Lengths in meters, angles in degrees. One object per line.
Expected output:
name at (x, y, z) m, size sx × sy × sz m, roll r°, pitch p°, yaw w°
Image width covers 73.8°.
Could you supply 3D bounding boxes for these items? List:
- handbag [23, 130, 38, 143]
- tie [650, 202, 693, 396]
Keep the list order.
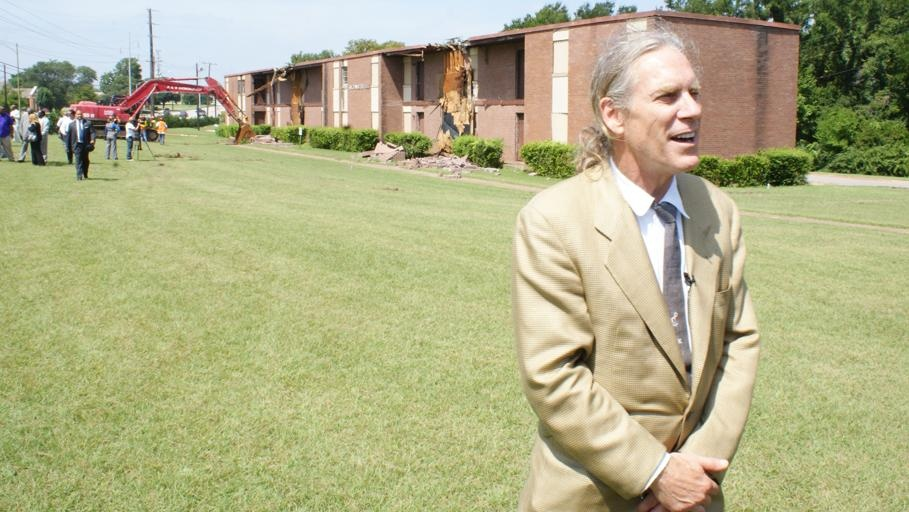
handbag at (-17.016, -4.829, 24.398) m, size 0.244 × 0.416 × 1.305 m, roll -9°, pitch 13°, yaw -41°
tie at (1.608, 0.314, 4.508) m, size 0.199 × 1.381 × 0.190 m, roll 0°, pitch -10°, yaw -23°
